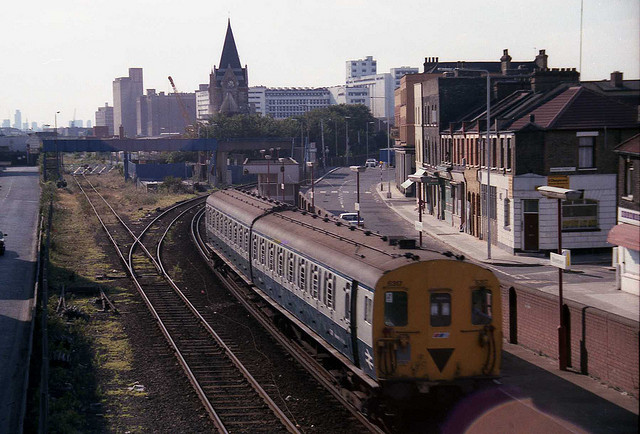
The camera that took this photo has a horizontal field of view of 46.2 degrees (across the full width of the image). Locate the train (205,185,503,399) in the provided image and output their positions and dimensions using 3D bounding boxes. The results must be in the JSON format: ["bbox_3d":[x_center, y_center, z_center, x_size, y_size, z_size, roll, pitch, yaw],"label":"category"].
[{"bbox_3d":[0.415,2.063,31.563,4.225,5.064,20.150,-2,9,-21],"label":"train"}]

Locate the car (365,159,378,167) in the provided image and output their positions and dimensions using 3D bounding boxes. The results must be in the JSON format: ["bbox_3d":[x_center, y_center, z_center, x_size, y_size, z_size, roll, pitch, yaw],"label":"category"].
[{"bbox_3d":[8.443,-8.746,122.842,1.266,0.860,2.686,1,0,2],"label":"car"}]
